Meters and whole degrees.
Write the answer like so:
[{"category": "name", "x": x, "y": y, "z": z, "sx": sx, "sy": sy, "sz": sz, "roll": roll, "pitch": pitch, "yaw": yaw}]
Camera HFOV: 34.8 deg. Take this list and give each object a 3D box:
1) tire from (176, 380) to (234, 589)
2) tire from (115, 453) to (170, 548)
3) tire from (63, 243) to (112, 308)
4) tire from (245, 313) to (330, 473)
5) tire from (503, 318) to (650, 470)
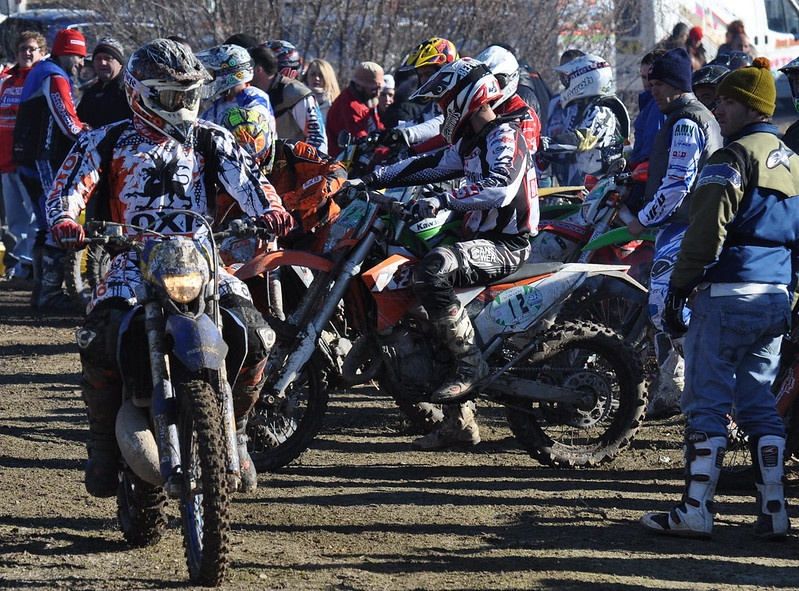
[{"category": "tire", "x": -1.047, "y": 0.975, "z": 6.823, "sx": 0.233, "sy": 0.933, "sz": 0.938, "roll": -2, "pitch": -13, "yaw": -15}, {"category": "tire", "x": -1.471, "y": 1.200, "z": 7.234, "sx": 0.138, "sy": 0.434, "sz": 0.439, "roll": -5, "pitch": 0, "yaw": -20}, {"category": "tire", "x": -2.580, "y": -0.189, "z": 10.531, "sx": 0.152, "sy": 0.555, "sz": 0.555, "roll": 6, "pitch": 35, "yaw": -36}, {"category": "tire", "x": -0.847, "y": 0.636, "z": 8.389, "sx": 0.900, "sy": 0.862, "sz": 0.178, "roll": 9, "pitch": 4, "yaw": -42}, {"category": "tire", "x": 1.172, "y": 0.693, "z": 8.808, "sx": 1.033, "sy": 0.997, "sz": 0.242, "roll": -2, "pitch": 2, "yaw": -7}]
